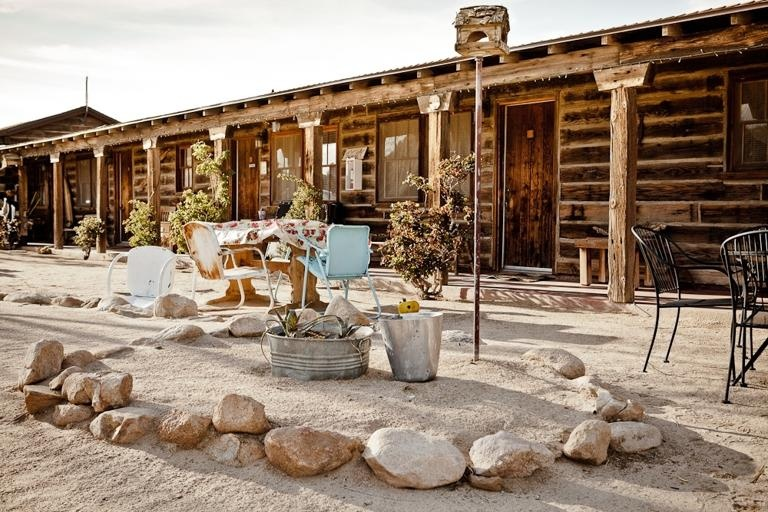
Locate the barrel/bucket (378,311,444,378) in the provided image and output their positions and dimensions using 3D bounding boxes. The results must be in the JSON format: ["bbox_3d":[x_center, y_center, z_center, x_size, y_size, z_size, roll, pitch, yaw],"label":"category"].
[{"bbox_3d":[0.234,0.755,5.264,0.501,0.489,0.523,-8,-2,0],"label":"barrel/bucket"}]

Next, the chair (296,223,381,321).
[{"bbox_3d":[-0.884,0.031,7.865,0.897,1.431,1.156,-3,9,-28],"label":"chair"}]
